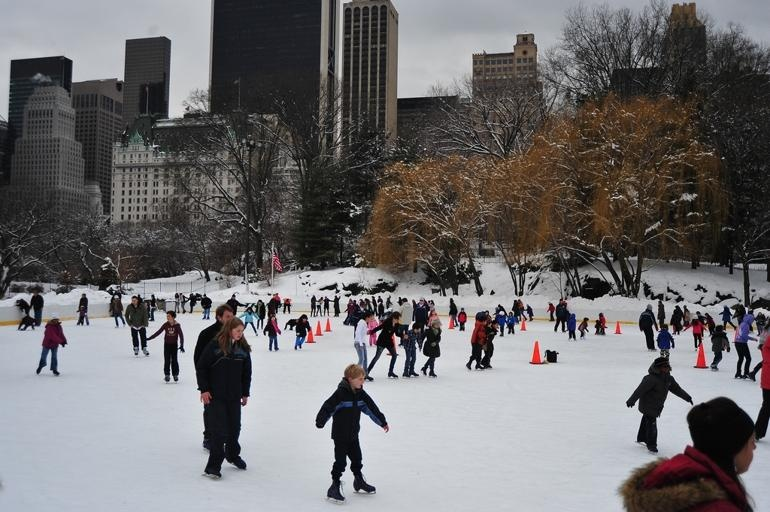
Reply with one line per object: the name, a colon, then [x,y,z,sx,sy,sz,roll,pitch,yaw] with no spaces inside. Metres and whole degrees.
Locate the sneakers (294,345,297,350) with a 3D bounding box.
sneakers: [-3.977,4.113,39.154,0.113,0.229,0.128,0,-1,15]

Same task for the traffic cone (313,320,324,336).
traffic cone: [-3.562,3.793,45.569,0.650,0.960,0.663,0,7,6]

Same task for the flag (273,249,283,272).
flag: [-8.774,0.361,71.769,0.152,1.518,1.521,-12,-40,18]

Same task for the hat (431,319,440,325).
hat: [1.873,2.501,33.288,0.287,0.212,0.519,-2,0,-4]

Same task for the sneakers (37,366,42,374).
sneakers: [-12.832,4.272,32.649,0.185,0.302,0.591,-2,0,-19]

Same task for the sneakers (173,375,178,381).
sneakers: [-7.623,4.489,32.086,0.170,0.204,0.180,-2,-8,3]

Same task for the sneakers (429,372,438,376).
sneakers: [1.791,4.508,33.226,0.253,0.178,0.413,-2,0,9]

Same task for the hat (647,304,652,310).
hat: [11.766,2.301,39.471,0.212,0.267,0.239,9,7,18]

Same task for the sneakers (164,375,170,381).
sneakers: [-7.939,4.471,31.917,0.223,0.238,0.161,-5,8,-28]

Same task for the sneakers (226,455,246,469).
sneakers: [-4.383,6.101,25.872,0.556,0.259,0.298,7,8,26]

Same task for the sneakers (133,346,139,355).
sneakers: [-10.267,3.958,36.373,0.225,0.311,0.333,3,-16,-13]

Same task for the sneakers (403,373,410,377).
sneakers: [0.779,4.529,33.225,0.281,0.160,0.217,-2,0,7]

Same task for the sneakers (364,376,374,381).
sneakers: [-0.617,4.616,32.970,0.445,0.210,0.156,-3,0,40]

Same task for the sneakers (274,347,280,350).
sneakers: [-4.849,4.149,39.180,0.181,0.061,0.122,7,0,-2]

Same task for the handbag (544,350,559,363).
handbag: [6.758,4.124,36.028,0.512,0.509,0.420,0,1,-1]

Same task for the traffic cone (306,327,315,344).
traffic cone: [-3.584,3.832,42.060,0.631,0.886,0.603,-2,3,2]

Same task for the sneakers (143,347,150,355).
sneakers: [-9.977,4.018,36.707,0.397,0.294,0.216,5,-2,-26]
